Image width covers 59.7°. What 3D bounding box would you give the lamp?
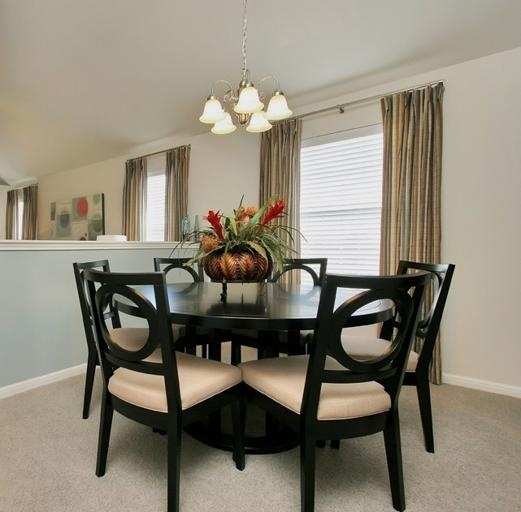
[{"bbox_3d":[-0.114,-1.239,3.316,0.567,0.829,1.753,-2,6,-4],"label":"lamp"}]

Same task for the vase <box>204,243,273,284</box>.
[{"bbox_3d":[-0.125,0.020,2.609,0.407,0.233,0.453,-2,10,3],"label":"vase"}]

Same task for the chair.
[{"bbox_3d":[0.043,0.493,2.736,2.041,1.019,1.722,1,6,26],"label":"chair"}]
